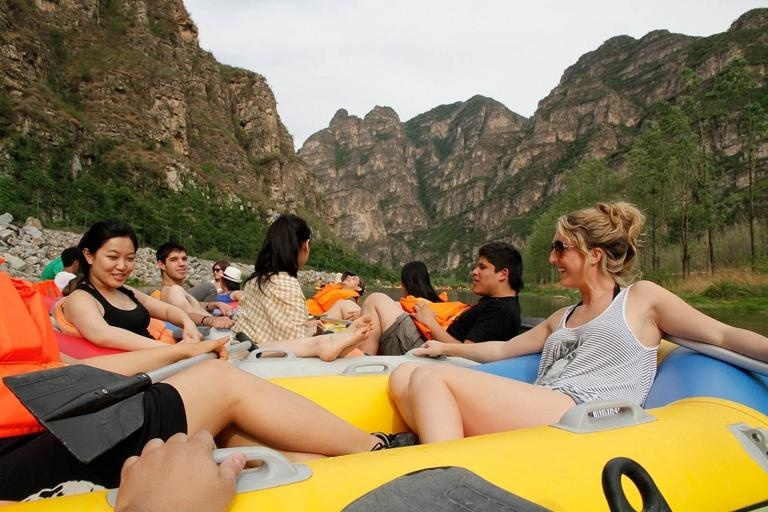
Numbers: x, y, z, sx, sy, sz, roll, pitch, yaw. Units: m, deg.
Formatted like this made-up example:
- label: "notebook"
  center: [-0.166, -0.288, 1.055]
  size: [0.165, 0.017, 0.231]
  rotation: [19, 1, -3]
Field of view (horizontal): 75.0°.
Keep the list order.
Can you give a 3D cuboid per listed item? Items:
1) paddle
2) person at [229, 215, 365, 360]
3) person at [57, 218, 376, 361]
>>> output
- label: "paddle"
  center: [-1.196, 0.578, 2.131]
  size: [0.325, 0.102, 0.644]
  rotation: [27, 18, 24]
- label: "person"
  center: [-0.665, 0.281, 4.201]
  size: [1.039, 1.126, 1.415]
  rotation: [4, 5, -34]
- label: "person"
  center: [-1.319, 0.530, 3.994]
  size: [2.316, 1.026, 0.948]
  rotation: [14, 2, -16]
